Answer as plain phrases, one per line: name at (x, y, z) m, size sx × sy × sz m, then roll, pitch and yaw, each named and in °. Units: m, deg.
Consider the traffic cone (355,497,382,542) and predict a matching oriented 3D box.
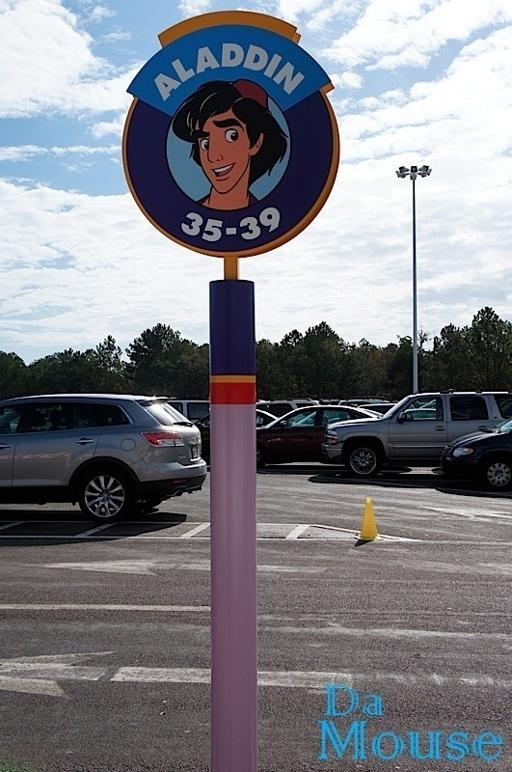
traffic cone at (1.336, 1.569, 9.038) m, size 0.237 × 0.454 × 0.952 m, roll -2°, pitch -3°, yaw 8°
